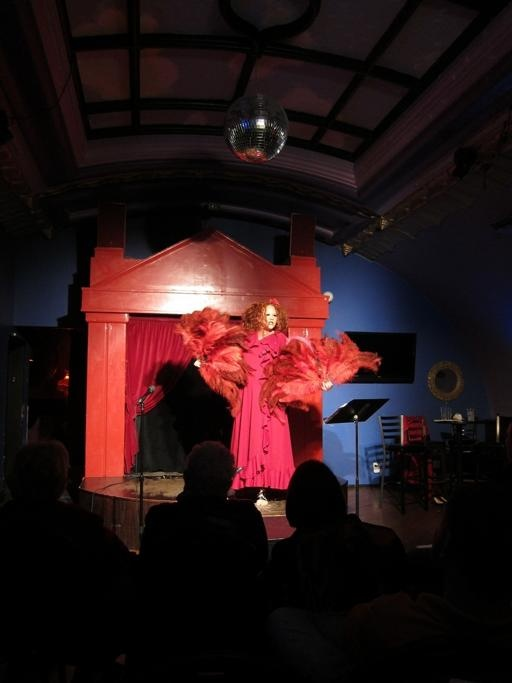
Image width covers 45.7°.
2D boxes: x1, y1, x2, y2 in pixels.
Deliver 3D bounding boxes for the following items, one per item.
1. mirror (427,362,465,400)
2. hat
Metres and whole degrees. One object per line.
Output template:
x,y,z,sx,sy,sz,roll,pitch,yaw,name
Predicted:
2.156,0.451,6.955,0.422,0.449,0.104,4,-7,-20,mirror
0.172,0.469,1.901,0.161,0.188,0.213,-3,-9,2,hat
